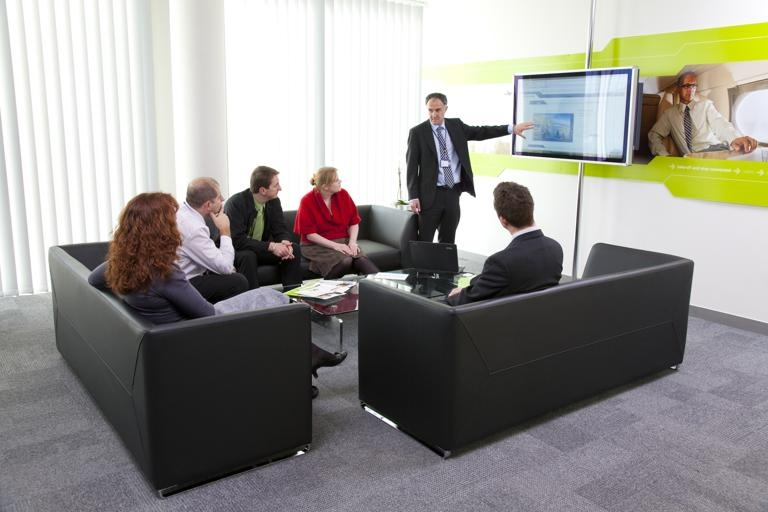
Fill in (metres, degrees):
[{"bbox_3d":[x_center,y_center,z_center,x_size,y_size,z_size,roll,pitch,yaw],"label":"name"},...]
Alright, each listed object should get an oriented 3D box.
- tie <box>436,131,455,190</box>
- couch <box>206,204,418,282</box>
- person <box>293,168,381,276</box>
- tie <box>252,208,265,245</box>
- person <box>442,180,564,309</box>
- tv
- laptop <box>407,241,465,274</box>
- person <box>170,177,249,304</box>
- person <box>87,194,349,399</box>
[{"bbox_3d":[0.729,-1.146,6.242,0.167,0.664,0.033,-9,2,-14],"label":"tie"},{"bbox_3d":[-0.619,-0.073,6.253,1.868,0.937,0.874,-7,15,-38],"label":"couch"},{"bbox_3d":[-0.575,-0.278,6.043,0.820,1.365,1.072,-10,24,-28],"label":"person"},{"bbox_3d":[-1.396,-0.364,5.803,0.122,0.312,0.212,9,12,29],"label":"tie"},{"bbox_3d":[1.163,-0.164,5.021,0.870,1.580,0.820,-17,29,-21],"label":"person"},{"bbox_3d":[2.228,-1.650,6.211,1.433,1.042,0.117,12,20,42],"label":"tv"},{"bbox_3d":[0.538,-0.085,5.326,0.411,0.310,0.334,4,13,19],"label":"laptop"},{"bbox_3d":[-1.624,-0.058,4.976,0.765,1.421,0.590,-7,43,-24],"label":"person"},{"bbox_3d":[-1.140,0.231,3.885,1.592,1.665,0.732,-13,22,-26],"label":"person"}]
